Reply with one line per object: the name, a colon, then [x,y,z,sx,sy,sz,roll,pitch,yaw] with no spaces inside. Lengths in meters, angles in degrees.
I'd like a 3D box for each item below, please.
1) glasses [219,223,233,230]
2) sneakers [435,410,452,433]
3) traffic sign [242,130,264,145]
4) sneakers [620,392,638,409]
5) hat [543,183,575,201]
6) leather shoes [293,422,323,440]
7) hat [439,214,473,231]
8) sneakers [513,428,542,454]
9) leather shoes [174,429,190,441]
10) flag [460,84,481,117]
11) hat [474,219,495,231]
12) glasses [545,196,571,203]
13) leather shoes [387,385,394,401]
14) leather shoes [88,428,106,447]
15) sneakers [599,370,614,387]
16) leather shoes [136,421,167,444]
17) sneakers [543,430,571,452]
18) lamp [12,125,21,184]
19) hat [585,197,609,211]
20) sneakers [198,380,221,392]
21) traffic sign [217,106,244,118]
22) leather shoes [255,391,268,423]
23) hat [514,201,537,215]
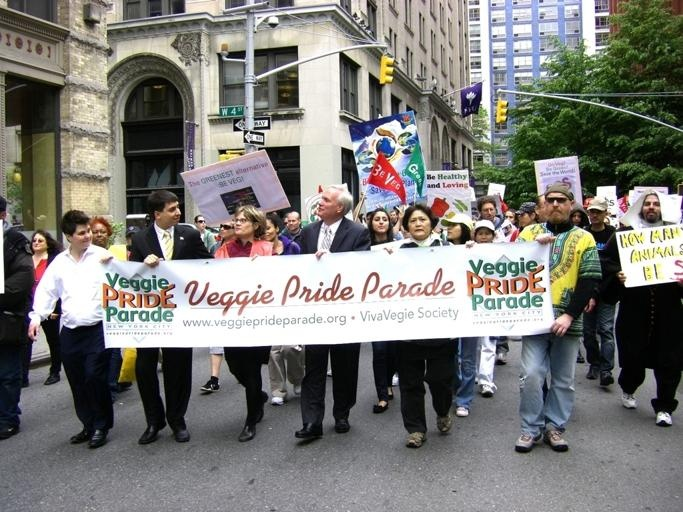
glasses: [-1.822,-0.465,11.690,0.150,0.045,0.143,5,-4,-37]
sneakers: [1.143,1.886,8.332,0.106,0.134,0.315,-3,-25,0]
traffic sign: [-2.261,-3.026,19.094,0.355,0.371,0.646,3,8,30]
sneakers: [3.558,1.781,9.190,0.097,0.113,0.266,-1,-2,7]
hat: [2.363,-0.688,8.024,0.228,0.159,0.223,12,-7,-33]
leather shoes: [-0.395,1.901,8.099,0.132,0.173,0.396,-3,-16,33]
hat: [1.639,-0.475,10.709,0.497,0.242,0.318,13,-17,-31]
sneakers: [1.942,1.944,7.821,0.137,0.168,0.392,3,-1,39]
leather shoes: [-1.789,1.970,8.251,0.190,0.112,0.188,-1,7,-3]
flag: [5.223,-6.295,30.054,0.759,1.394,1.850,0,7,7]
hat: [1.975,-0.449,10.405,0.234,0.166,0.379,0,-13,11]
glasses: [2.310,-0.598,7.954,0.241,0.078,0.076,1,7,18]
leather shoes: [0.631,1.770,9.692,0.062,0.074,0.191,2,7,4]
leather shoes: [-2.701,1.971,8.197,0.193,0.168,0.312,-2,7,-12]
sneakers: [3.631,1.685,10.206,0.115,0.120,0.284,-2,-24,3]
leather shoes: [-2.134,1.957,8.302,0.117,0.147,0.356,0,1,16]
sneakers: [2.276,1.912,7.836,0.230,0.176,0.316,-1,7,2]
lamp: [-8.720,-2.709,19.930,0.173,1.405,0.675,-3,7,-17]
hat: [3.651,-0.738,10.540,0.177,0.128,0.247,-1,-6,33]
sneakers: [-1.814,1.786,10.165,0.110,0.132,0.307,-5,-11,28]
traffic sign: [-2.980,-3.912,20.130,0.587,0.290,1.192,-2,7,-6]
leather shoes: [-0.953,1.788,8.851,0.126,0.375,0.161,3,-7,4]
hat: [3.098,-0.790,12.434,0.287,0.149,0.200,2,7,12]
